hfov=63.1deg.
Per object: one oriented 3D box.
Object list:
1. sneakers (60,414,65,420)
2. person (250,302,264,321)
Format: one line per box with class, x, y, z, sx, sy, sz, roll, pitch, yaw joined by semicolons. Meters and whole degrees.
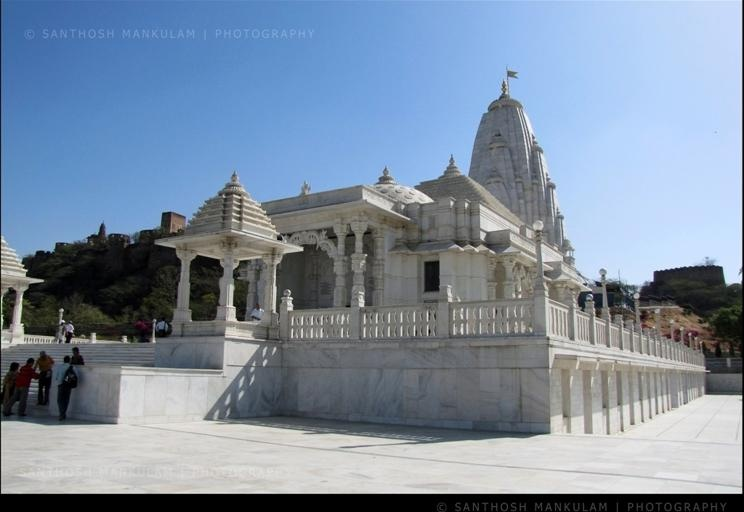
sneakers;-8.464;4.358;16.511;0.154;0.127;0.175;1;-3;-32
person;-4.956;2.368;25.860;0.721;0.888;0.623;0;-29;-9
